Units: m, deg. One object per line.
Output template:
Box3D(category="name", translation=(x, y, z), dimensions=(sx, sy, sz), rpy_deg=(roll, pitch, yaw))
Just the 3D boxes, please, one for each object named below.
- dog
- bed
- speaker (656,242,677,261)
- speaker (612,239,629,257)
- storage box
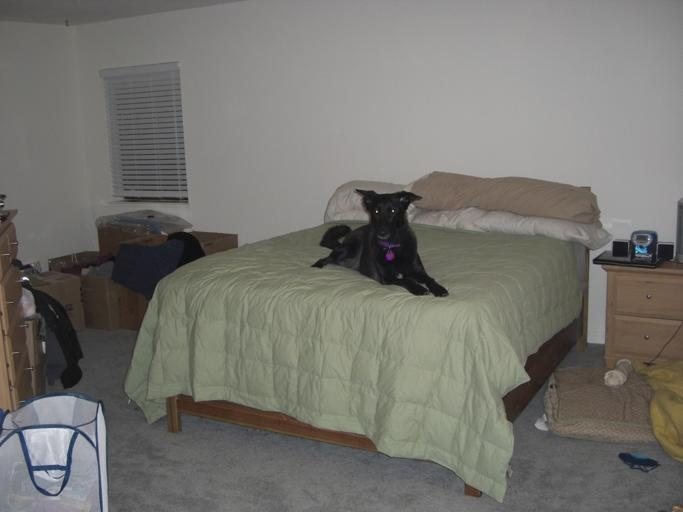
Box3D(category="dog", translation=(0.203, -0.123, 3.385), dimensions=(0.381, 0.553, 1.266), rpy_deg=(-2, 8, -23))
Box3D(category="bed", translation=(0.185, 0.502, 3.482), dimensions=(2.168, 1.007, 2.044), rpy_deg=(7, 15, 31))
Box3D(category="speaker", translation=(2.361, -0.028, 3.992), dimensions=(0.128, 0.131, 0.128), rpy_deg=(1, 5, 16))
Box3D(category="speaker", translation=(2.076, -0.053, 4.082), dimensions=(0.117, 0.117, 0.120), rpy_deg=(3, 7, 28))
Box3D(category="storage box", translation=(-2.227, 0.211, 5.228), dimensions=(1.291, 0.592, 1.363), rpy_deg=(4, 20, 19))
